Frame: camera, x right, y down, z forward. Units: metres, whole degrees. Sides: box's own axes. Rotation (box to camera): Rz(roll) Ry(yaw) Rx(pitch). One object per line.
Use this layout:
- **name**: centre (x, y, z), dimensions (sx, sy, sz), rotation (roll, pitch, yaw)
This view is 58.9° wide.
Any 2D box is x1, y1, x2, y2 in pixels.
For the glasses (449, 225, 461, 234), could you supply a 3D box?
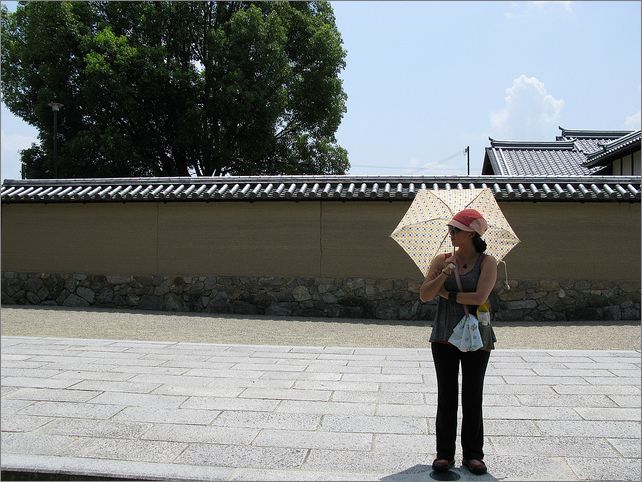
- **glasses**: centre (1.305, -0.107, 5.564), dimensions (0.071, 0.073, 0.023), rotation (8, 38, 43)

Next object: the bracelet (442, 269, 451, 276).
- **bracelet**: centre (1.234, 0.309, 5.542), dimensions (0.061, 0.065, 0.027), rotation (7, -2, 4)

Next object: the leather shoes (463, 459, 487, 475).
- **leather shoes**: centre (1.492, 2.169, 5.494), dimensions (0.090, 0.095, 0.240), rotation (2, -3, -25)

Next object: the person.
- **person**: centre (1.338, 0.959, 5.541), dimensions (0.697, 2.518, 0.527), rotation (1, 5, 15)

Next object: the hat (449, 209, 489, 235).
- **hat**: centre (1.446, -0.187, 5.552), dimensions (0.314, 0.169, 0.239), rotation (13, 6, -31)
